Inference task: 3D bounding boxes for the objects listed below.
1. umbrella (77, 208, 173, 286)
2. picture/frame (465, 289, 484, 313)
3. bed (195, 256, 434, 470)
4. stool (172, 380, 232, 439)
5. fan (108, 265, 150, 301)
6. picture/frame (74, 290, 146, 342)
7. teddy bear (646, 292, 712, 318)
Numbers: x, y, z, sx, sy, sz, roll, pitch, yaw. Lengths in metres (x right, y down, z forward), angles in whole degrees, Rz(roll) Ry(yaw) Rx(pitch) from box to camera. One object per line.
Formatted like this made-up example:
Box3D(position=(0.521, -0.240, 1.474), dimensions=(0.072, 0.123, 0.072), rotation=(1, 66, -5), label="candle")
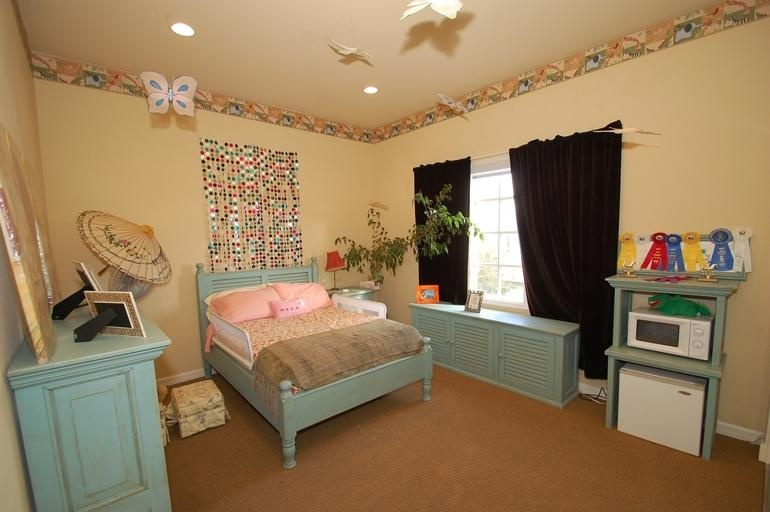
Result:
Box3D(position=(-2.709, -0.094, 5.232), dimensions=(0.376, 0.720, 0.736), rotation=(-44, -14, 13), label="umbrella")
Box3D(position=(1.036, 0.522, 5.720), dimensions=(0.222, 0.278, 0.039), rotation=(3, -17, 37), label="picture/frame")
Box3D(position=(-0.771, 0.906, 5.455), dimensions=(1.991, 1.710, 1.978), rotation=(-5, 5, -34), label="bed")
Box3D(position=(-1.807, 1.474, 4.904), dimensions=(0.485, 0.395, 0.373), rotation=(-4, 5, -28), label="stool")
Box3D(position=(-2.707, 0.289, 5.306), dimensions=(0.322, 0.270, 0.368), rotation=(5, -4, -4), label="fan")
Box3D(position=(-2.045, 0.471, 3.737), dimensions=(0.268, 0.395, 0.551), rotation=(-21, -3, -3), label="picture/frame")
Box3D(position=(2.675, 0.453, 4.578), dimensions=(0.221, 0.158, 0.378), rotation=(-4, 6, -40), label="teddy bear")
